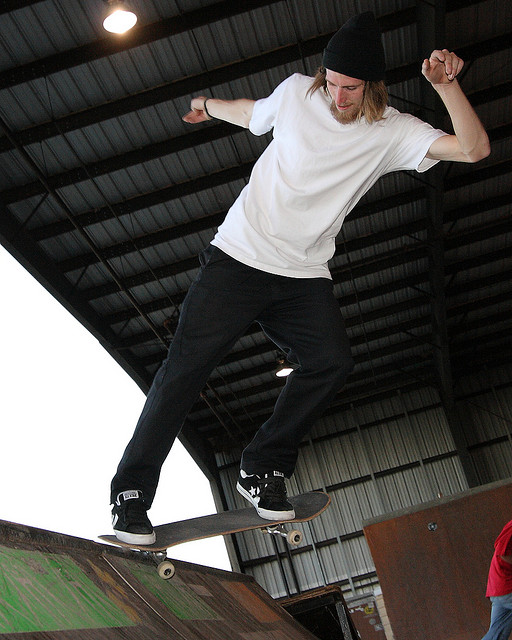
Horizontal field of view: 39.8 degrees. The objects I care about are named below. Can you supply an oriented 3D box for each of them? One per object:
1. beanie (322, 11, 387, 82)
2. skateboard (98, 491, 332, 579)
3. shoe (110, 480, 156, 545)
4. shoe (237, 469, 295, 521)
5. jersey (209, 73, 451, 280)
[{"bbox_3d":[0.488,-1.291,3.253,0.300,0.273,0.377,8,14,-31],"label":"beanie"},{"bbox_3d":[-0.105,1.004,3.400,1.242,0.399,0.385,8,-35,-35],"label":"skateboard"},{"bbox_3d":[-0.596,0.889,3.262,0.162,0.160,0.447,2,0,-31],"label":"shoe"},{"bbox_3d":[0.052,0.847,3.602,0.176,0.194,0.484,0,9,-31],"label":"shoe"},{"bbox_3d":[0.314,-0.672,3.733,1.050,1.084,0.907,10,3,2],"label":"jersey"}]
